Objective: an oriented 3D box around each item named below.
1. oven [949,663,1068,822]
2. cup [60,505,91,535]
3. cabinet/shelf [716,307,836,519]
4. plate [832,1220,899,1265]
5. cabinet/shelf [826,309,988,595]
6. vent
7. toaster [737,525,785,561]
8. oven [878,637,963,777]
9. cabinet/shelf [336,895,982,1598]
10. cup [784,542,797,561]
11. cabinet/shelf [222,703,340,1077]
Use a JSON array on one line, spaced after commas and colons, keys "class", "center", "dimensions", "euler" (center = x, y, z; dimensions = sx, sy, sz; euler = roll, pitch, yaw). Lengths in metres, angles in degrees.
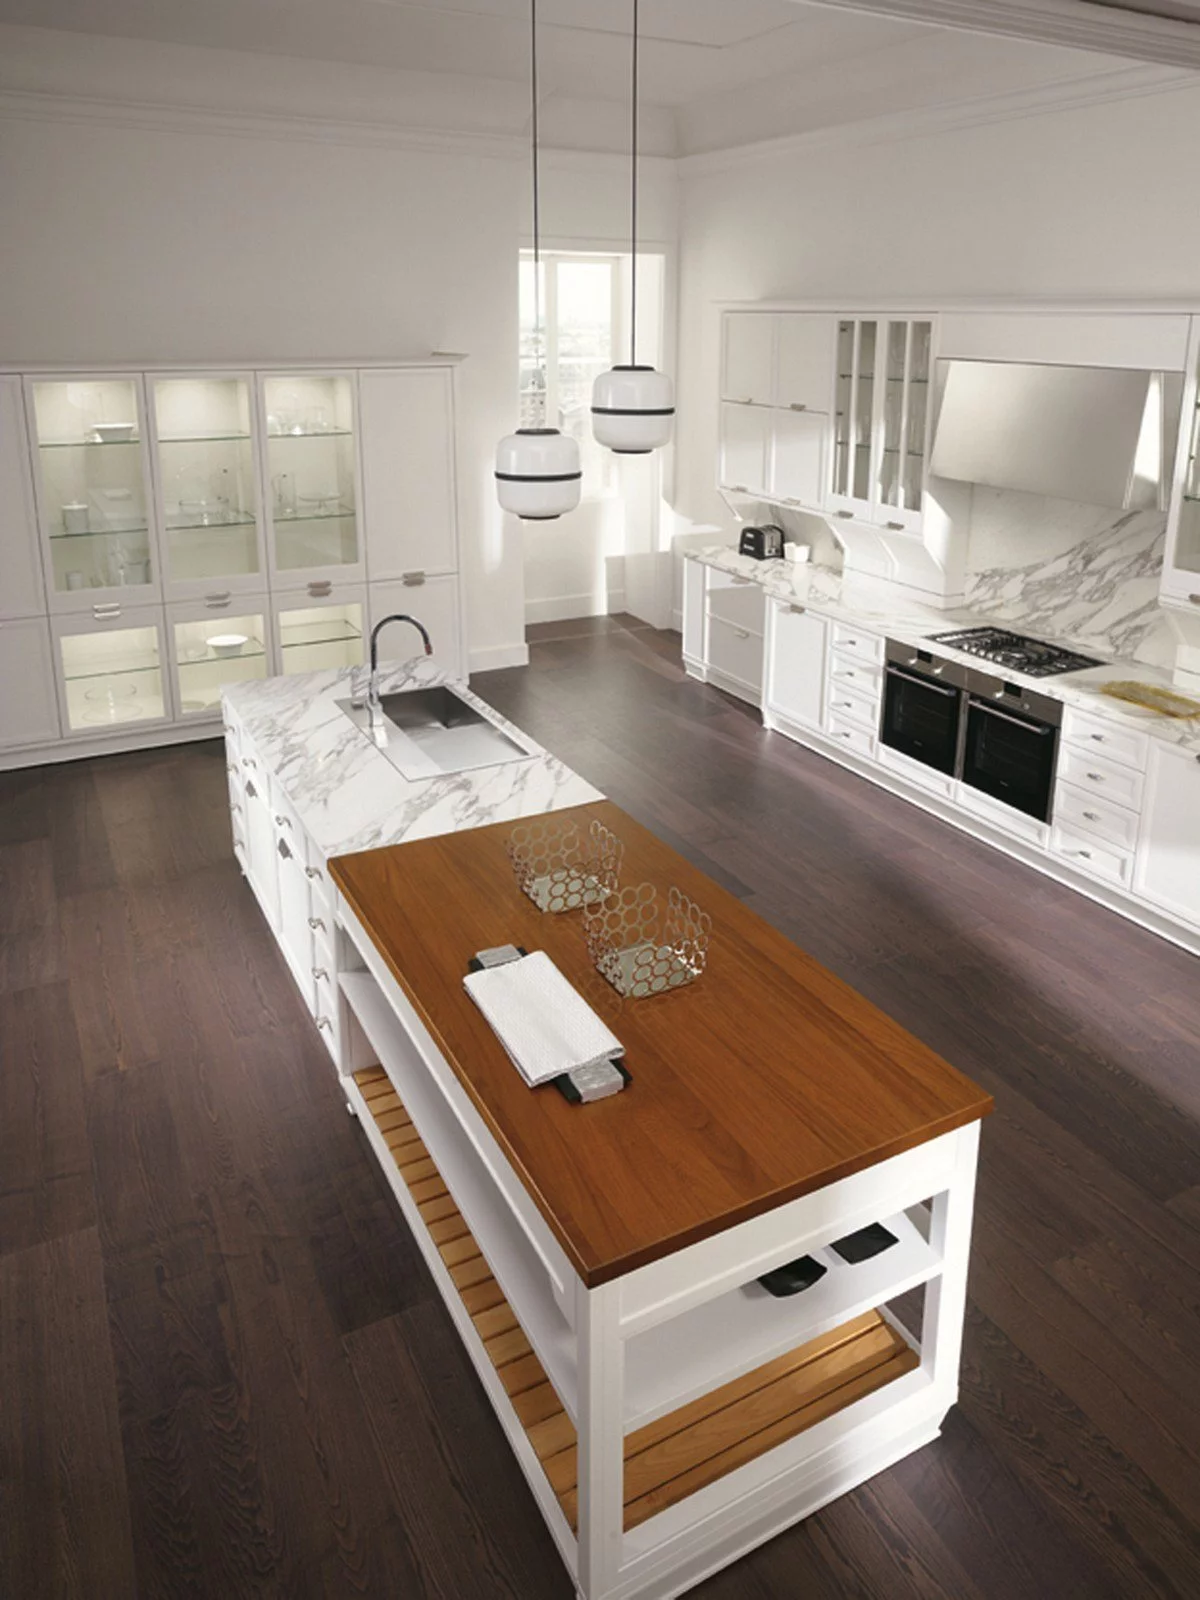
[{"class": "oven", "center": [1.797, -0.158, 5.190], "dimensions": [0.525, 0.726, 0.473], "euler": [19, -21, -13]}, {"class": "cup", "center": [-2.953, -1.576, 6.173], "dimensions": [0.144, 0.110, 0.146], "euler": [1, 30, 0]}, {"class": "cabinet/shelf", "center": [1.219, -2.458, 6.916], "dimensions": [0.400, 1.173, 1.166], "euler": [-13, 27, -26]}, {"class": "plate", "center": [0.548, 0.919, 2.270], "dimensions": [0.080, 0.021, 0.083], "euler": [-11, 20, -22]}, {"class": "cabinet/shelf", "center": [1.632, -1.893, 5.785], "dimensions": [0.475, 1.738, 1.067], "euler": [-7, 21, -19]}, {"class": "vent", "center": [1.941, -1.680, 4.943], "dimensions": [1.024, 0.535, 0.125], "euler": [0, 17, -15]}, {"class": "toaster", "center": [1.095, -1.776, 7.496], "dimensions": [0.251, 0.228, 0.248], "euler": [-17, 29, -29]}, {"class": "oven", "center": [1.626, -0.496, 5.542], "dimensions": [0.349, 0.518, 0.530], "euler": [-7, 26, -21]}, {"class": "cabinet/shelf", "center": [0.068, 0.868, 2.499], "dimensions": [0.943, 0.973, 1.346], "euler": [-12, 20, -28]}, {"class": "cup", "center": [1.258, -1.628, 7.162], "dimensions": [0.094, 0.093, 0.120], "euler": [-9, 22, -25]}, {"class": "cabinet/shelf", "center": [-1.146, 0.333, 3.970], "dimensions": [0.298, 0.569, 1.160], "euler": [-9, 36, -20]}]
